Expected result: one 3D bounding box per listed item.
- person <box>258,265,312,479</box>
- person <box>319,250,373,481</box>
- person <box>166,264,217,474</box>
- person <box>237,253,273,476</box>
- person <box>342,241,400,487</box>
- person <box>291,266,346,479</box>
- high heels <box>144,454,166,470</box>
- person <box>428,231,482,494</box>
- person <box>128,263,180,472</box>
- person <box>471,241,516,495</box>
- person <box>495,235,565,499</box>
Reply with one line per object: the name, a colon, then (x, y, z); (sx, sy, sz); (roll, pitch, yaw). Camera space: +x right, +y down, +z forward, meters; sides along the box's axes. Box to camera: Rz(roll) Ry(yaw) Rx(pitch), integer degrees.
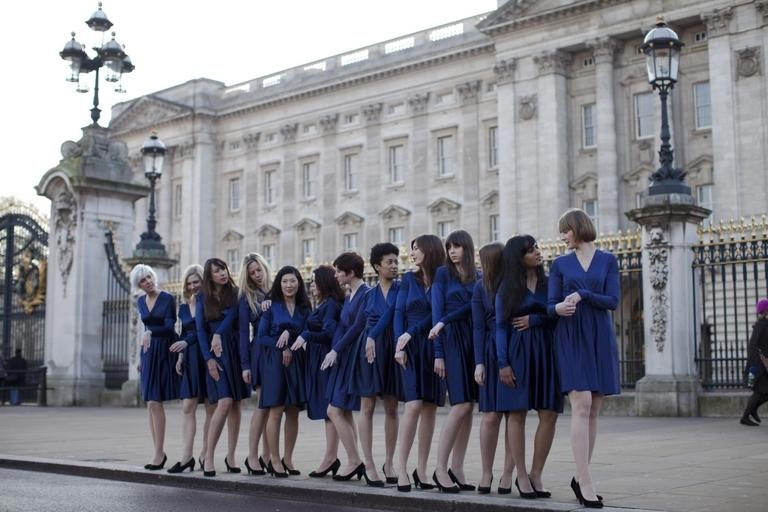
person: (-1.700, 1.954, 21.202); (0.821, 3.506, 0.870); (0, 0, -8)
person: (-0.596, 1.804, 20.713); (0.719, 3.816, 0.785); (0, 0, 16)
person: (-3.274, 1.970, 21.662); (1.111, 3.403, 0.970); (-1, -2, 32)
person: (-2.160, 1.865, 21.251); (0.631, 3.597, 0.619); (-3, 0, -39)
person: (-0.069, 1.756, 20.379); (0.818, 3.952, 0.641); (-4, -9, 15)
person: (-1.039, 1.904, 21.012); (0.763, 3.642, 0.738); (0, 0, -40)
high heels: (-4.012, 3.572, 21.416); (0.498, 0.230, 0.165); (14, -17, -40)
person: (1.081, 1.676, 20.063); (0.880, 3.925, 0.862); (-1, 0, 8)
person: (-4.034, 1.903, 21.863); (0.780, 3.664, 0.887); (-1, 0, -8)
person: (1.647, 1.737, 19.895); (0.719, 3.787, 0.683); (0, 1, -21)
person: (2.337, 1.709, 19.833); (1.022, 4.126, 0.969); (0, 0, 15)
